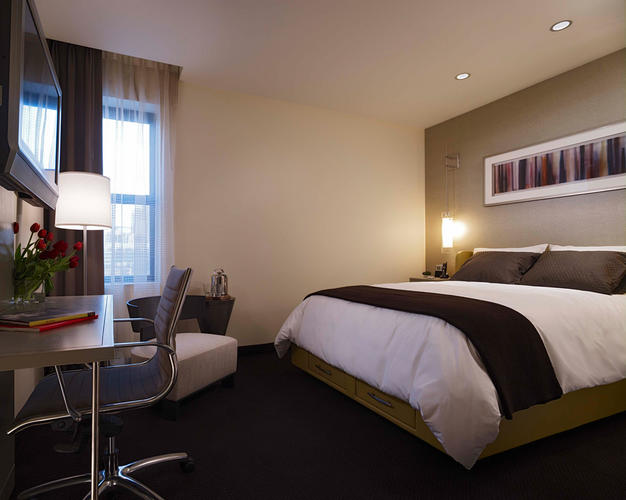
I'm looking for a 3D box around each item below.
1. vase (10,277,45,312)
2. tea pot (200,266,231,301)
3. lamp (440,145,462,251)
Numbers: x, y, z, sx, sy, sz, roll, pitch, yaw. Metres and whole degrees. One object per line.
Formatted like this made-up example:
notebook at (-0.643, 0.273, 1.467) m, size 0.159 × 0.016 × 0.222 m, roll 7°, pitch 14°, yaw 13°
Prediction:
vase at (-1.507, 0.232, 2.289) m, size 0.164 × 0.187 × 0.171 m, roll -3°, pitch -5°, yaw 37°
tea pot at (-0.977, 0.346, 4.342) m, size 0.303 × 0.370 × 0.190 m, roll -1°, pitch -3°, yaw 23°
lamp at (1.737, -0.592, 5.322) m, size 0.234 × 1.197 × 0.344 m, roll 2°, pitch 7°, yaw 17°
